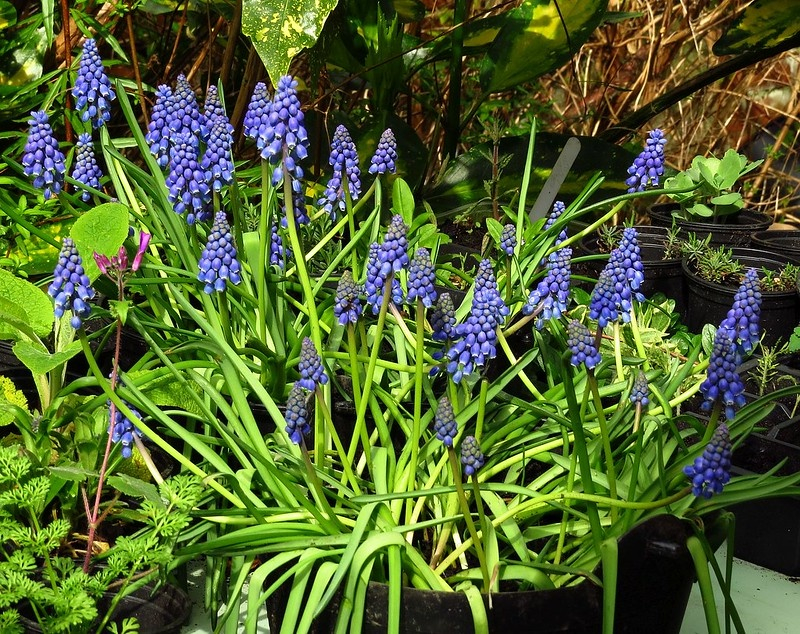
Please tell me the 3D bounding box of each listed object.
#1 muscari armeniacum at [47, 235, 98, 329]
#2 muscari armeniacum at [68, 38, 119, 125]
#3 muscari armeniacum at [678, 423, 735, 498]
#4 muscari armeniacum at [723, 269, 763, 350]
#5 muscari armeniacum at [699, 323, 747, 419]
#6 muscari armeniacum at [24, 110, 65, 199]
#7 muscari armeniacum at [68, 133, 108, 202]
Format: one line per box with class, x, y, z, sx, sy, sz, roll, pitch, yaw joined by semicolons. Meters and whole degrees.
muscari armeniacum;-0.690;-0.056;1.658;0.087;0.206;0.192;8;18;-23
muscari armeniacum;-0.799;-0.583;2.042;0.082;0.224;0.093;23;39;7
muscari armeniacum;0.598;0.279;1.498;0.080;0.186;0.080;2;47;16
muscari armeniacum;0.664;-0.006;1.523;0.061;0.104;0.072;24;18;29
muscari armeniacum;0.632;0.135;1.560;0.076;0.218;0.075;-21;33;-11
muscari armeniacum;-0.869;-0.347;1.938;0.082;0.306;0.094;0;8;-32
muscari armeniacum;-0.820;-0.378;2.074;0.055;0.176;0.068;4;9;11
